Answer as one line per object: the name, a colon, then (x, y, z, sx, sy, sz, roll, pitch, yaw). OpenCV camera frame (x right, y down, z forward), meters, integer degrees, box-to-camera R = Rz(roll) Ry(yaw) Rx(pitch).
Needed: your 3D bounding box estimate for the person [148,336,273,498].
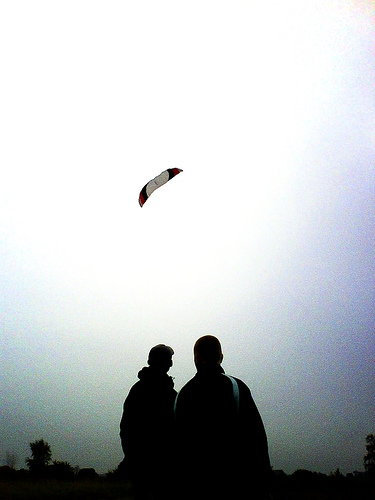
person: (0.207, 1.324, 4.261, 0.812, 1.139, 0.430, -10, -34, 10)
